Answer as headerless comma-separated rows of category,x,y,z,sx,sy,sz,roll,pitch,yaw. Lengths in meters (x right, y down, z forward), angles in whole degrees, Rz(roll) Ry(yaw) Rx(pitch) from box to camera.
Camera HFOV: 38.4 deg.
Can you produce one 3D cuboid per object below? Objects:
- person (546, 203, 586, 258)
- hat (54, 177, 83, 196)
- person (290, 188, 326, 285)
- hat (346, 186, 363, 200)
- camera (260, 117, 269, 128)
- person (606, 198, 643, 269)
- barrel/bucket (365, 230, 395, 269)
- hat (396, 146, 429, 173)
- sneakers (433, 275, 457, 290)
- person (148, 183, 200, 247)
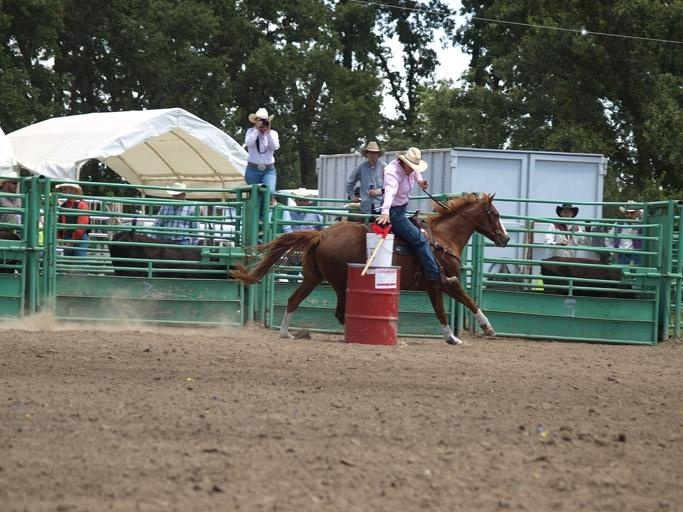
person,3.702,-0.429,16.173,0.625,0.707,1.822,1,1,14
hat,-4.729,-1.188,16.863,0.650,0.152,0.621,-1,-8,2
person,-0.619,-0.508,16.327,0.628,1.138,0.446,0,-13,-26
hat,0.215,-0.981,16.013,0.251,0.214,0.076,-2,-22,19
camera,-1.307,-2.228,16.681,0.084,0.159,0.191,2,1,44
person,4.720,-0.381,16.366,0.582,0.904,2.790,1,1,15
barrel/bucket,0.550,-0.080,13.964,0.512,0.444,0.460,0,-1,11
hat,1.010,-1.377,14.083,0.437,0.172,0.351,38,36,15
sneakers,1.530,0.378,14.292,0.141,0.190,0.451,-4,10,44
person,-2.575,-0.634,15.237,0.733,0.927,2.343,1,1,-11
